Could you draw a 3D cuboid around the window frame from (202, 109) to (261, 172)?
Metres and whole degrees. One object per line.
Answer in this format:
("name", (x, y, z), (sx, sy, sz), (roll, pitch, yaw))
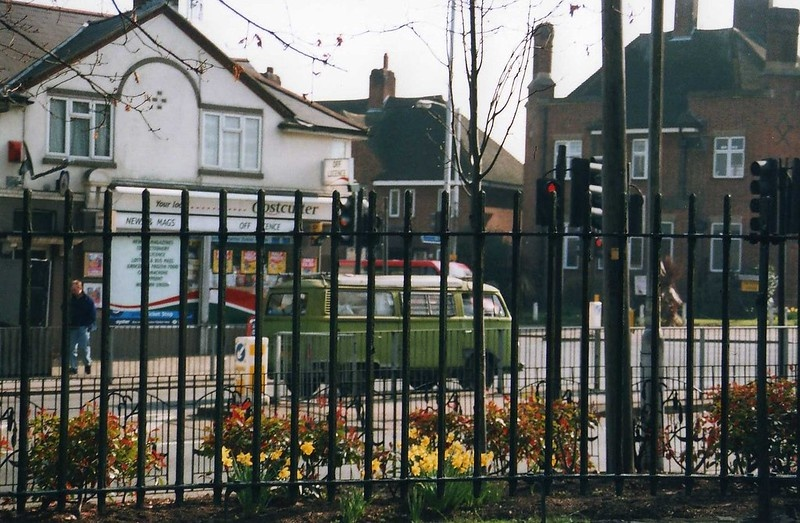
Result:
("window frame", (-5.807, -4.218, 54.654), (2.127, 1.887, 0.293), (0, 6, -24))

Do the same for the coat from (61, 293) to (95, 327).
("coat", (-8.867, 1.338, 44.330), (1.139, 1.278, 0.676), (1, 1, -3))

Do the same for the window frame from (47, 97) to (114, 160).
("window frame", (-10.382, -4.404, 52.239), (2.352, 2.129, 0.188), (4, 8, 5))

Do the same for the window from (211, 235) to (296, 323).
("window", (-5.105, 0.695, 54.400), (3.256, 3.384, 0.094), (-2, -10, 27))

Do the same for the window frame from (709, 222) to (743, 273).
("window frame", (13.619, -0.627, 67.005), (1.348, 2.632, 0.189), (1, 34, 11))

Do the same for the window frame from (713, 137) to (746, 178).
("window frame", (13.806, -4.405, 67.201), (1.297, 1.773, 0.063), (0, -14, 18))

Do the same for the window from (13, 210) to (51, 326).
("window", (-11.341, 0.119, 49.972), (1.036, 3.991, 3.662), (1, -7, -13))
